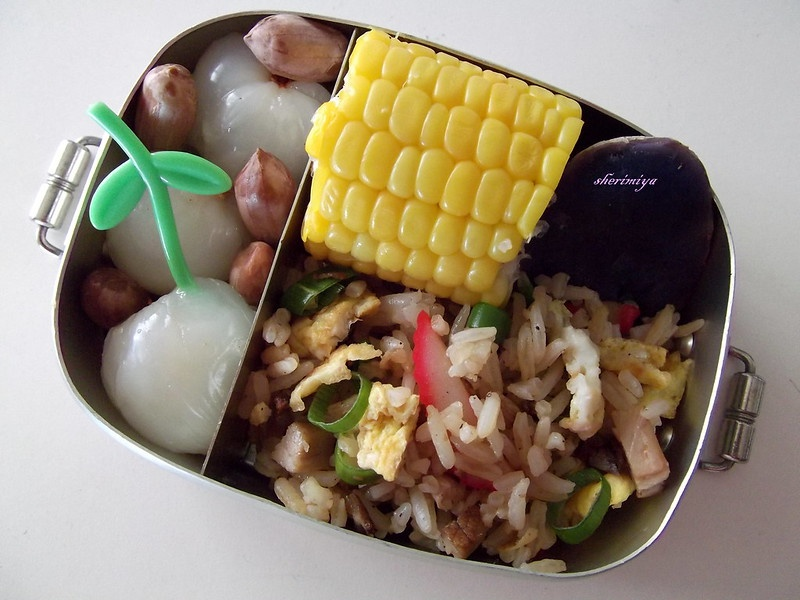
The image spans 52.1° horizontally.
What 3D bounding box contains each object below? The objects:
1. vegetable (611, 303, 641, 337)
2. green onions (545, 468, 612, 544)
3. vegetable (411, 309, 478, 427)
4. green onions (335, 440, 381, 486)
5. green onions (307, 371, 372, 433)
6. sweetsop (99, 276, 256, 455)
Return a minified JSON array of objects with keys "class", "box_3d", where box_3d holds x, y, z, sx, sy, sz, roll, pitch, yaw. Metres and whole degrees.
[{"class":"vegetable","box_3d":[0.590,0.052,2.132,0.057,0.030,0.092,2,94,-1]},{"class":"green onions","box_3d":[0.449,0.512,2.014,0.145,0.065,0.188,35,104,37]},{"class":"vegetable","box_3d":[0.120,0.149,1.967,0.161,0.088,0.324,-60,32,7]},{"class":"green onions","box_3d":[-0.107,0.396,1.989,0.071,0.033,0.085,5,40,12]},{"class":"green onions","box_3d":[-0.144,0.257,2.004,0.124,0.057,0.171,24,94,41]},{"class":"sweetsop","box_3d":[-0.552,0.137,2.013,0.305,0.119,0.421,20,76,7]}]
